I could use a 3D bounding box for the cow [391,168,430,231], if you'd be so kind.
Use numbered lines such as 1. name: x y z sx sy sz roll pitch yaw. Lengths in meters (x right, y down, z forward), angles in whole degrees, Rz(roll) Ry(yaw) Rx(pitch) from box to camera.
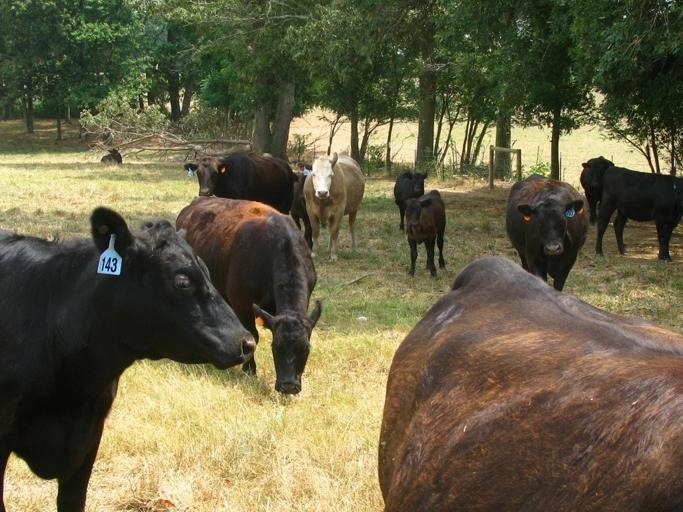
1. cow: 1.557 -1.246 19.797 0.578 1.304 2.128 5 4 -8

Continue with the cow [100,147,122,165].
1. cow: -9.279 -4.027 34.251 0.469 0.906 1.474 -3 5 -29

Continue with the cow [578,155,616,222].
1. cow: 5.965 -1.575 19.561 0.571 1.358 2.162 -1 -6 20

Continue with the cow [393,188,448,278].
1. cow: 1.567 -0.340 15.407 0.547 1.498 2.074 4 9 19
